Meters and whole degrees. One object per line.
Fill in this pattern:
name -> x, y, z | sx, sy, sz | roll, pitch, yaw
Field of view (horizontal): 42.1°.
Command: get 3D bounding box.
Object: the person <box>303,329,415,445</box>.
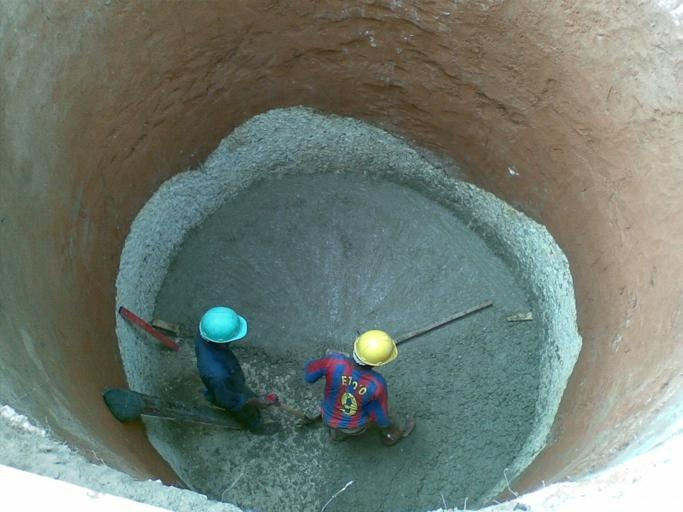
person -> 0.201, 1.123, 7.530 | 0.979, 1.577, 0.732 | 7, 63, -1

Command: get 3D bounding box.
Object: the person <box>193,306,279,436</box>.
person -> -0.909, 1.032, 7.596 | 0.333, 0.894, 0.487 | -29, 78, -5

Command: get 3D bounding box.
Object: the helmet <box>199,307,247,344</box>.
helmet -> -0.962, 0.565, 7.210 | 0.331, 0.150, 0.297 | -2, 66, -24
